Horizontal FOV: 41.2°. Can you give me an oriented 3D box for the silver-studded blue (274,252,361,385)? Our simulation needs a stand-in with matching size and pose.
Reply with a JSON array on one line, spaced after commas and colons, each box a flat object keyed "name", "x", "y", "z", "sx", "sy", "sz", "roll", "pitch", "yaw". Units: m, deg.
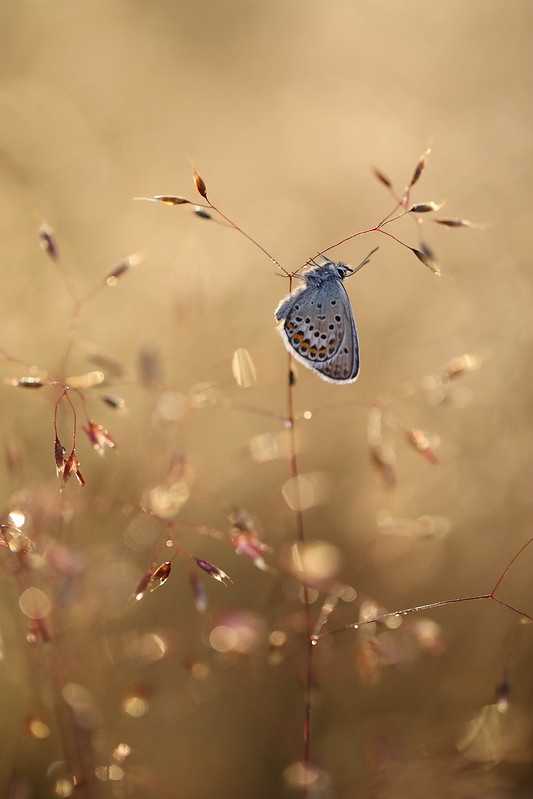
[{"name": "silver-studded blue", "x": 0.081, "y": -0.123, "z": 1.159, "sx": 0.131, "sy": 0.172, "sz": 0.125, "roll": -7, "pitch": 42, "yaw": 2}]
